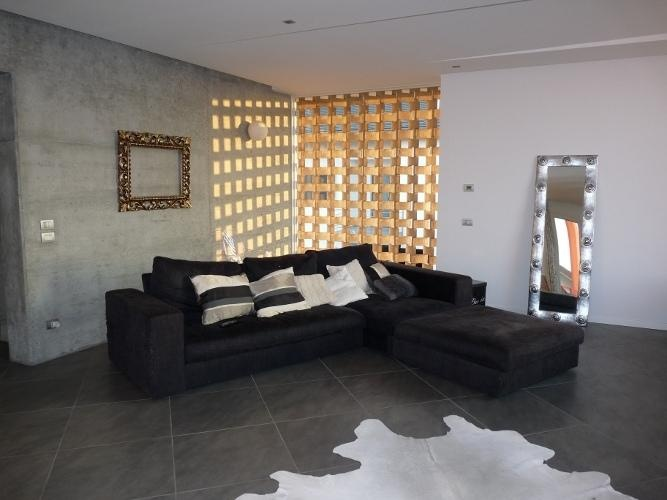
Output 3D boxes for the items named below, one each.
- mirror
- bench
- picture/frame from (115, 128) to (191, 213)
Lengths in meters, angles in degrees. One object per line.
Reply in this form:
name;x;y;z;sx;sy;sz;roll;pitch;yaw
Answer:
mirror;2.805;-0.140;5.806;0.785;2.024;0.546;6;15;22
bench;1.452;0.877;4.528;1.313;0.468;1.150;-8;15;-33
picture/frame;-2.077;-0.918;5.571;0.040;0.923;1.059;10;12;27
